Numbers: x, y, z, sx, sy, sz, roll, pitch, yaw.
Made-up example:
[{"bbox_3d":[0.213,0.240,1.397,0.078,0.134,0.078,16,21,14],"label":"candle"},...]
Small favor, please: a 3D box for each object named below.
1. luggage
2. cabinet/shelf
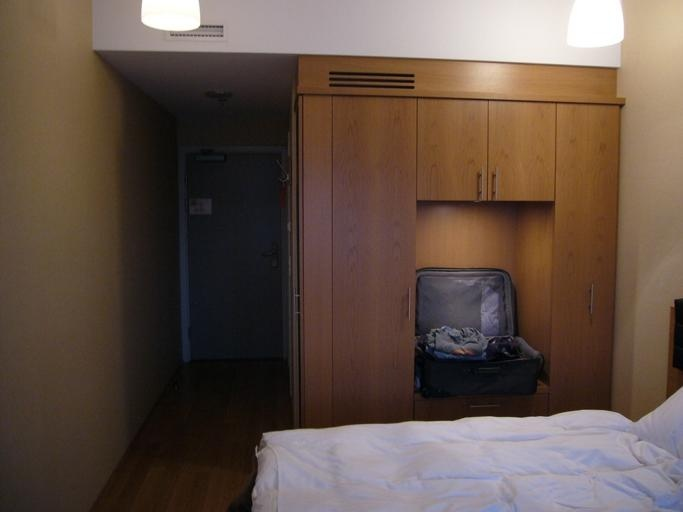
[{"bbox_3d":[0.921,0.536,4.211,0.855,0.974,0.785,0,-5,-4],"label":"luggage"},{"bbox_3d":[0.771,0.035,3.884,1.911,2.176,0.710,0,0,-6],"label":"cabinet/shelf"}]
